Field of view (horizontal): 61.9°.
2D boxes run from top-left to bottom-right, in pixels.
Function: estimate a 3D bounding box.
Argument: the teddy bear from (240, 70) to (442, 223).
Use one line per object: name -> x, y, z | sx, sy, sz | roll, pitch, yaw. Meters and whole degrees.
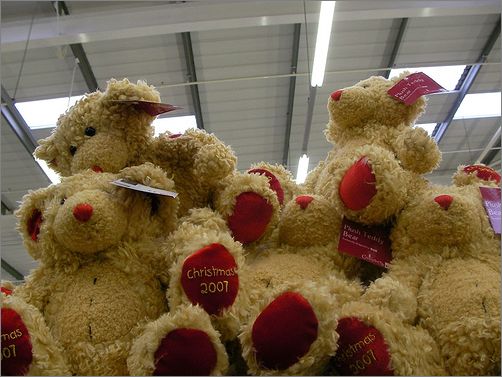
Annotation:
teddy bear -> 0.328, -0.135, 1.346 | 0.349, 0.557, 0.522 | 18, -21, -41
